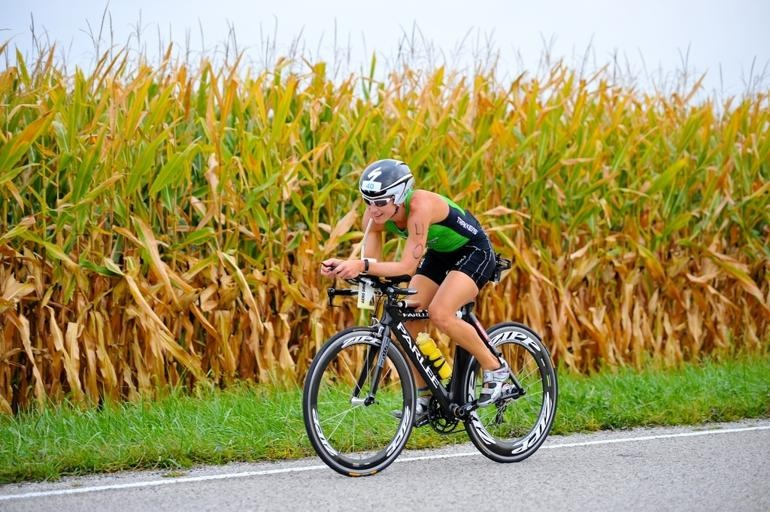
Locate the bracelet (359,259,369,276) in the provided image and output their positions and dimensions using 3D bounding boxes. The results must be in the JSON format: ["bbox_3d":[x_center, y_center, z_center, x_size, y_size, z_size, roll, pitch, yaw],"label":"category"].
[{"bbox_3d":[-0.160,0.098,7.691,0.068,0.137,0.109,1,13,-2],"label":"bracelet"}]

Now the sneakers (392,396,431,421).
[{"bbox_3d":[0.277,1.441,8.119,0.455,0.216,0.153,4,-4,-9],"label":"sneakers"}]

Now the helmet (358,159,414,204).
[{"bbox_3d":[0.028,-0.664,7.898,0.342,0.375,0.461,5,30,29],"label":"helmet"}]
